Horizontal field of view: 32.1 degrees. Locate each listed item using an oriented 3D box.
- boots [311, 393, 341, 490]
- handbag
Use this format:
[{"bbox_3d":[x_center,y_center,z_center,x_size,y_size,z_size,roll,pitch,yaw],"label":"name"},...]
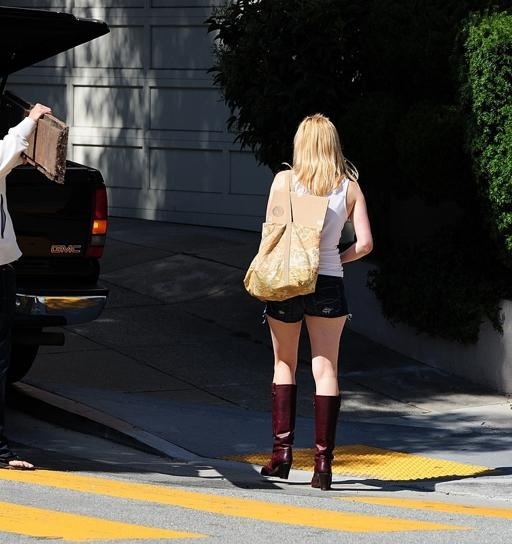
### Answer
[{"bbox_3d":[0.339,0.876,4.509,0.159,0.530,0.227,9,15,4],"label":"boots"},{"bbox_3d":[0.173,-0.177,4.418,0.310,0.612,0.448,8,15,3],"label":"handbag"}]
